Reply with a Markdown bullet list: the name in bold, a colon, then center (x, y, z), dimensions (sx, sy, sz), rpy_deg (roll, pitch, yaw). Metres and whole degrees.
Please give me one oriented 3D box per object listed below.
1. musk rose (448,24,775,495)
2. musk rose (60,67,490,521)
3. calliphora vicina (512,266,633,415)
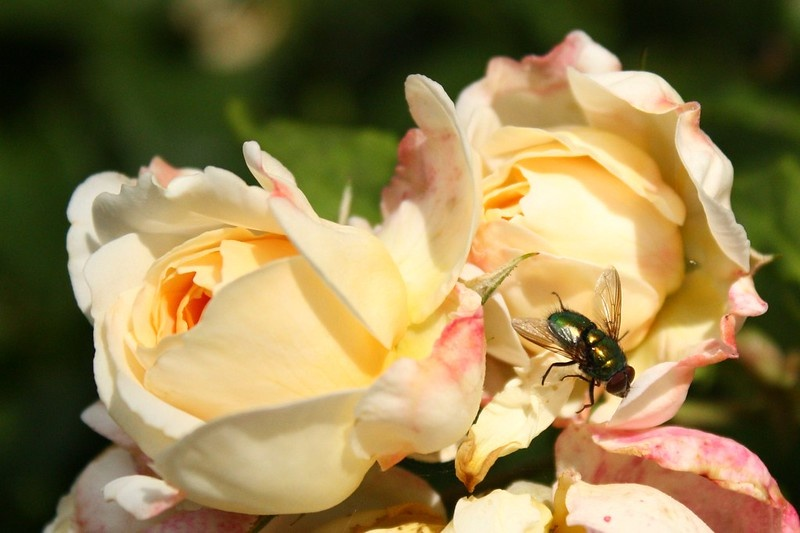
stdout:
- **musk rose**: center (0.259, -0.001, 0.941), dimensions (0.193, 0.420, 0.369), rpy_deg (2, 2, -43)
- **musk rose**: center (-0.099, 0.017, 0.871), dimensions (0.445, 0.251, 0.380), rpy_deg (-21, 68, -10)
- **calliphora vicina**: center (0.172, 0.090, 0.960), dimensions (0.144, 0.044, 0.144), rpy_deg (-35, 95, -27)
